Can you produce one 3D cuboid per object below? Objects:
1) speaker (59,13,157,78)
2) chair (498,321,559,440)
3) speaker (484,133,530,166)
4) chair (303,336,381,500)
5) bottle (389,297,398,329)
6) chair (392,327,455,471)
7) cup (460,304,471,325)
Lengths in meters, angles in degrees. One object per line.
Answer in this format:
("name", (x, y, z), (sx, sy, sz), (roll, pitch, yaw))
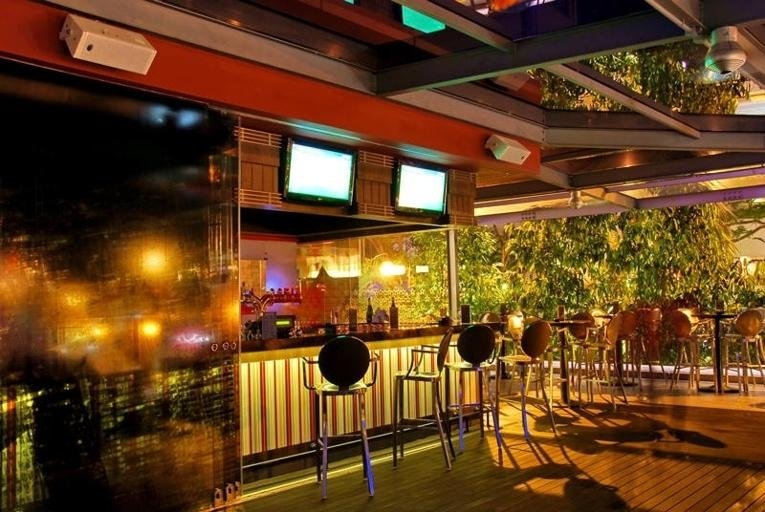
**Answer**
("speaker", (-2.197, -1.614, 5.002), (0.523, 0.212, 0.385), (10, 22, -40))
("chair", (1.897, 1.477, 8.281), (0.809, 1.348, 0.807), (-9, 14, -29))
("speaker", (1.538, -1.337, 7.858), (0.351, 0.262, 0.464), (42, 17, 34))
("chair", (-0.421, 1.602, 6.484), (0.701, 1.642, 0.671), (-1, 2, -12))
("bottle", (0.124, 0.777, 8.136), (0.096, 0.365, 0.311), (-1, 0, 1))
("chair", (0.457, 1.566, 7.407), (0.699, 1.588, 1.553), (-1, 0, 1))
("cup", (1.096, 0.780, 8.428), (0.122, 0.251, 0.326), (-1, 0, 6))
